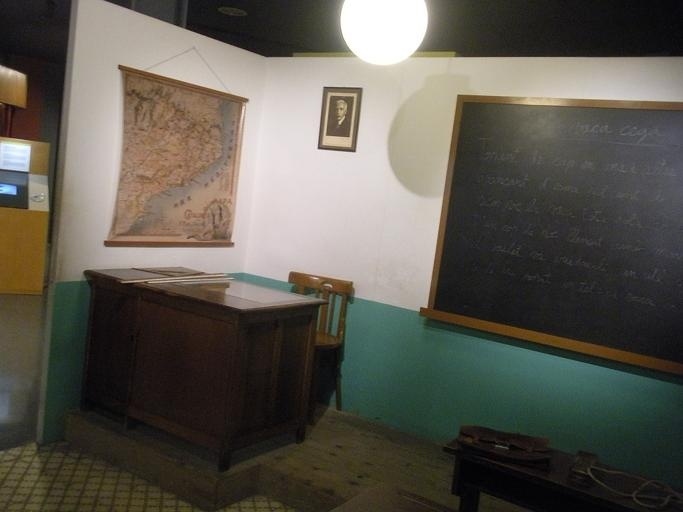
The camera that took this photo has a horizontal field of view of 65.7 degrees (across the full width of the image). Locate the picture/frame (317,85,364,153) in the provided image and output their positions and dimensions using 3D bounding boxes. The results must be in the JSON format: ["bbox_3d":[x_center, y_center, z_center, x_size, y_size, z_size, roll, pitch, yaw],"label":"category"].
[{"bbox_3d":[0.007,-1.136,4.385,0.494,0.664,0.050,10,7,25],"label":"picture/frame"}]

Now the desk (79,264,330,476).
[{"bbox_3d":[-0.949,0.496,3.657,1.328,0.860,1.347,8,4,42],"label":"desk"}]
